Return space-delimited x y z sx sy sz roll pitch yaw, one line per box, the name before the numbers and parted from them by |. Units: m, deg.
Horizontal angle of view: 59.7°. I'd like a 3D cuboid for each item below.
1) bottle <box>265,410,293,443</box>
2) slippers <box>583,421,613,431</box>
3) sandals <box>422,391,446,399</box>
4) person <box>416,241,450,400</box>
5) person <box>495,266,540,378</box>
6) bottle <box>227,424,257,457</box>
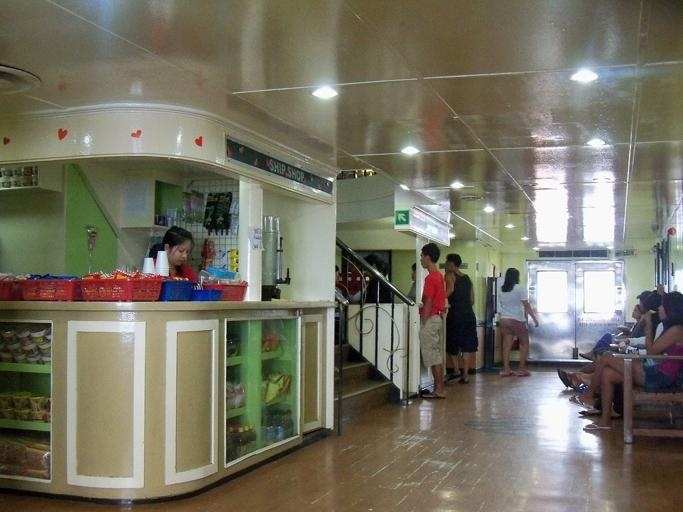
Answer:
bottle | -0.570 1.595 5.584 0.051 0.265 0.458 -1 -4 26
slippers | 2.965 1.986 6.906 0.255 0.060 0.114 1 -5 1
sandals | 1.405 2.140 9.120 0.271 0.070 0.141 3 -3 6
person | 1.382 0.966 9.046 0.388 2.385 0.771 0 -4 9
person | 3.756 1.388 12.715 0.779 2.255 1.178 0 -4 18
bottle | -0.853 1.568 5.084 0.073 0.273 0.422 -1 -4 22
